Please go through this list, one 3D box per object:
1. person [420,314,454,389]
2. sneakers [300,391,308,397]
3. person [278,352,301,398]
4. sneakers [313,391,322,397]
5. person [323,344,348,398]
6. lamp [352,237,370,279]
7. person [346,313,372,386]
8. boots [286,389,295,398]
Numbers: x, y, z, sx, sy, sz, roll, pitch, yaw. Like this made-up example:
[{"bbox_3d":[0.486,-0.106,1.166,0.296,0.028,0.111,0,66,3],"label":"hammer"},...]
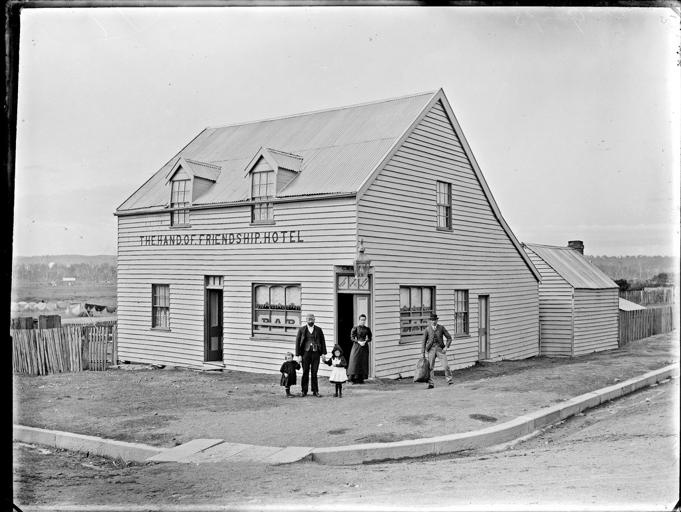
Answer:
[{"bbox_3d":[2.692,2.627,24.957,0.875,2.011,1.304,0,10,-2],"label":"person"},{"bbox_3d":[-0.954,3.613,23.776,0.129,0.145,0.131,7,-11,-40],"label":"sneakers"},{"bbox_3d":[-1.372,3.087,23.799,0.556,1.226,0.573,-8,12,-38],"label":"person"},{"bbox_3d":[-0.581,3.628,23.826,0.248,0.197,0.097,-1,-2,17],"label":"sneakers"},{"bbox_3d":[-0.179,2.956,23.433,0.702,1.314,0.553,2,-5,-23],"label":"person"},{"bbox_3d":[0.590,0.087,25.041,0.461,1.246,0.427,0,10,0],"label":"lamp"},{"bbox_3d":[0.515,2.515,24.835,0.709,1.924,0.437,-1,10,-9],"label":"person"},{"bbox_3d":[-1.362,3.588,23.765,0.250,0.279,0.148,-2,-1,15],"label":"boots"}]
